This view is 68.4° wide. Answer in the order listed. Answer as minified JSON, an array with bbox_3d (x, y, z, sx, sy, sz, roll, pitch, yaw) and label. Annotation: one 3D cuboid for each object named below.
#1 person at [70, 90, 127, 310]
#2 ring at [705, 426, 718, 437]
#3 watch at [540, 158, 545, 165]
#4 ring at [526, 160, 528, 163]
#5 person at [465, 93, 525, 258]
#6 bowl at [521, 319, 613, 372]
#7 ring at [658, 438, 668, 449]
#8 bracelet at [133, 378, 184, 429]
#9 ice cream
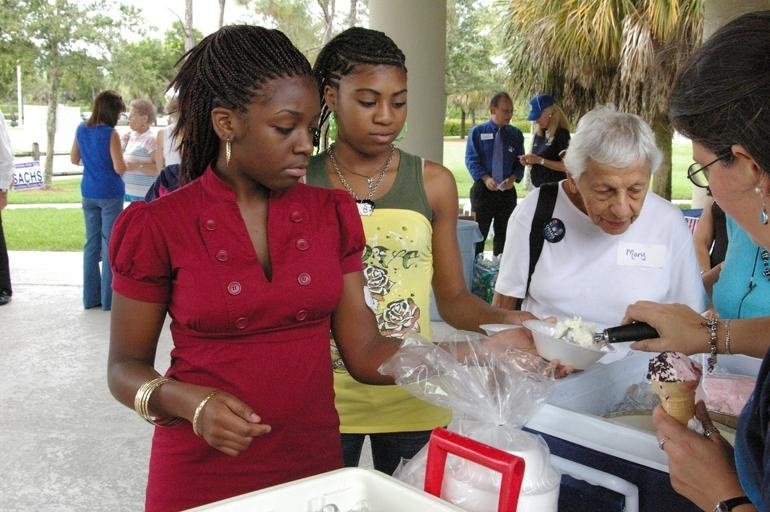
[{"bbox_3d":[-2.944,-0.600,6.136,0.663,2.259,0.617,5,7,19],"label":"person"},{"bbox_3d":[0.825,0.445,1.436,0.018,0.012,0.017,41,2,-2],"label":"ring"},{"bbox_3d":[1.940,-1.183,6.982,0.048,0.083,0.015,0,-3,5],"label":"watch"},{"bbox_3d":[1.742,-1.181,6.946,0.037,0.036,0.009,-1,0,-7],"label":"ring"},{"bbox_3d":[1.542,-0.945,7.615,0.912,2.371,0.728,-7,29,-8],"label":"person"},{"bbox_3d":[0.597,0.319,1.885,0.188,0.064,0.193,19,0,0],"label":"bowl"},{"bbox_3d":[0.701,0.476,1.432,0.017,0.026,0.023,-1,-11,28],"label":"ring"},{"bbox_3d":[-0.581,0.378,1.443,0.096,0.143,0.052,-8,17,-25],"label":"bracelet"},{"bbox_3d":[0.784,0.381,1.497,0.141,0.239,0.147,-14,5,-41],"label":"ice cream"}]
